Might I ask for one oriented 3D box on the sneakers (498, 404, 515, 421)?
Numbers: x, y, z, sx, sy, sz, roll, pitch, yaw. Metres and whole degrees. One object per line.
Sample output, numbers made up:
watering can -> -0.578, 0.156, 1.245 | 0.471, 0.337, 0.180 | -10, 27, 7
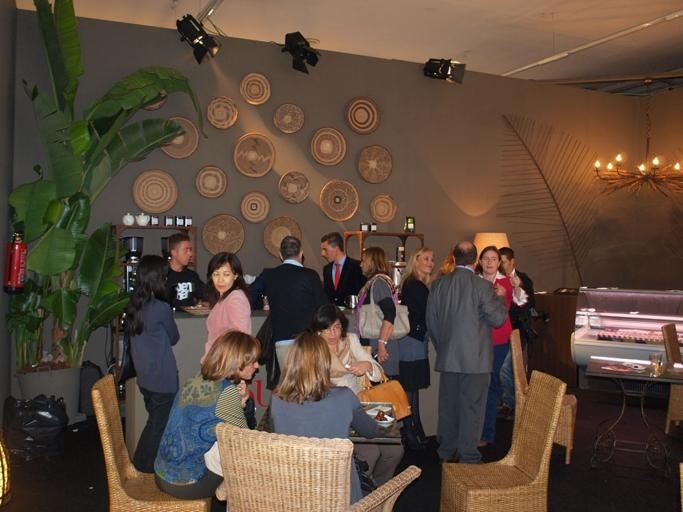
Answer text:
sneakers -> 1.854, 1.772, 6.225 | 0.122, 0.160, 0.255 | 9, -24, -1

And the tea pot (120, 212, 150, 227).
tea pot -> -2.366, -0.410, 6.383 | 0.284, 0.147, 0.178 | 2, -1, -7

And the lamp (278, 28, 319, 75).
lamp -> -0.520, -2.626, 7.058 | 0.474, 0.448, 0.645 | 2, -3, -4

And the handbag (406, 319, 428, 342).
handbag -> 0.704, 0.687, 5.075 | 0.186, 0.196, 0.043 | 10, -5, -22

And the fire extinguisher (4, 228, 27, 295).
fire extinguisher -> -3.033, 0.059, 5.180 | 0.164, 0.414, 0.299 | 3, -2, -32

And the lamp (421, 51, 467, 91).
lamp -> 1.464, -2.619, 7.817 | 0.543, 0.357, 0.174 | 8, -9, 4

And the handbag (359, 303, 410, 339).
handbag -> 0.375, 0.575, 4.851 | 0.270, 0.296, 0.119 | 0, -7, -3

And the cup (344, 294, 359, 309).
cup -> 0.107, 0.489, 5.794 | 0.125, 0.122, 0.090 | -1, -2, 22

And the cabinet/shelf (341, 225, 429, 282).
cabinet/shelf -> 0.610, 0.022, 7.494 | 0.941, 0.668, 0.503 | 1, -3, -16
